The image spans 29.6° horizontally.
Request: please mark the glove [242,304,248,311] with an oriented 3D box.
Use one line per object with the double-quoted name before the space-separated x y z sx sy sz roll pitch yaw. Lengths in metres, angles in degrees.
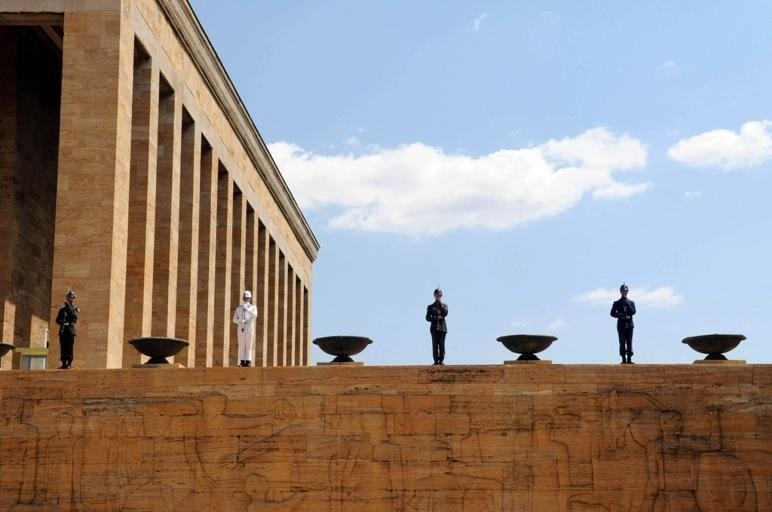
"glove" -4.587 1.598 46.486 0.110 0.221 0.222 11 -21 -41
